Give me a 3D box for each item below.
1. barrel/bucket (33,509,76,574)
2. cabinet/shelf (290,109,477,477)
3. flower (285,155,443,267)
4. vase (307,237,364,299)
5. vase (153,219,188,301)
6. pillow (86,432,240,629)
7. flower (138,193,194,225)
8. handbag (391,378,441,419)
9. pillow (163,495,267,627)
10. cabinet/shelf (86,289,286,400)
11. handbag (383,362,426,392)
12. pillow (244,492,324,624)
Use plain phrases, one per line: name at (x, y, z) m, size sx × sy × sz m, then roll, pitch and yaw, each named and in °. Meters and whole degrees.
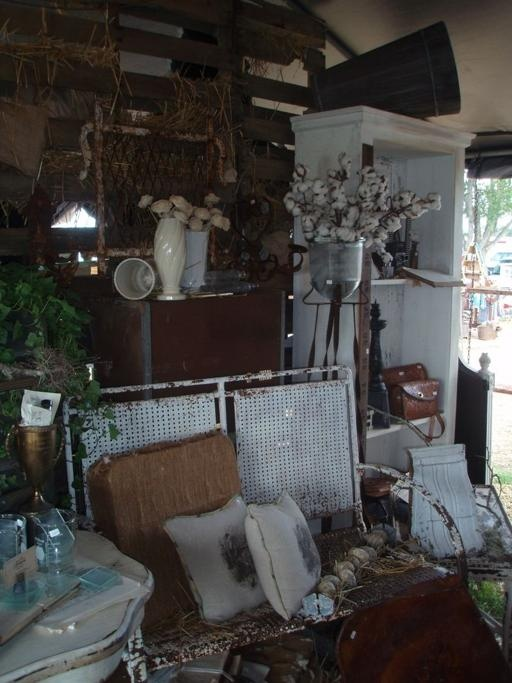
barrel/bucket at (-0.506, 0.509, 1.384) m, size 0.099 × 0.131 × 0.080 m, roll -1°, pitch 1°, yaw -21°
cabinet/shelf at (0.580, -0.211, 3.439) m, size 1.145 × 2.043 × 0.731 m, roll -10°, pitch 15°, yaw -36°
flower at (0.475, -0.601, 2.511) m, size 0.586 × 0.477 × 0.404 m, roll -5°, pitch 7°, yaw -32°
vase at (0.355, -0.334, 2.531) m, size 0.222 × 0.264 × 0.183 m, roll -1°, pitch 10°, yaw -12°
vase at (-0.349, -0.335, 2.262) m, size 0.120 × 0.334 × 0.127 m, roll -1°, pitch 6°, yaw -1°
pillow at (-0.328, 0.618, 1.903) m, size 0.124 × 0.497 × 0.536 m, roll -22°, pitch -21°, yaw 37°
flower at (-0.373, -0.540, 2.320) m, size 0.216 × 0.120 × 0.284 m, roll -2°, pitch 6°, yaw -8°
handbag at (0.896, 0.298, 3.185) m, size 0.196 × 0.211 × 0.263 m, roll -7°, pitch 15°, yaw -34°
pillow at (-0.175, 0.759, 1.911) m, size 0.094 × 0.309 × 0.308 m, roll -32°, pitch -21°, yaw 37°
cabinet/shelf at (-0.273, -0.014, 2.361) m, size 0.737 × 0.421 × 0.385 m, roll -6°, pitch 16°, yaw -36°
handbag at (0.863, 0.198, 3.252) m, size 0.216 × 0.138 × 0.152 m, roll -9°, pitch 19°, yaw -24°
pillow at (0.111, 0.732, 1.963) m, size 0.171 × 0.355 × 0.488 m, roll -14°, pitch -13°, yaw 14°
